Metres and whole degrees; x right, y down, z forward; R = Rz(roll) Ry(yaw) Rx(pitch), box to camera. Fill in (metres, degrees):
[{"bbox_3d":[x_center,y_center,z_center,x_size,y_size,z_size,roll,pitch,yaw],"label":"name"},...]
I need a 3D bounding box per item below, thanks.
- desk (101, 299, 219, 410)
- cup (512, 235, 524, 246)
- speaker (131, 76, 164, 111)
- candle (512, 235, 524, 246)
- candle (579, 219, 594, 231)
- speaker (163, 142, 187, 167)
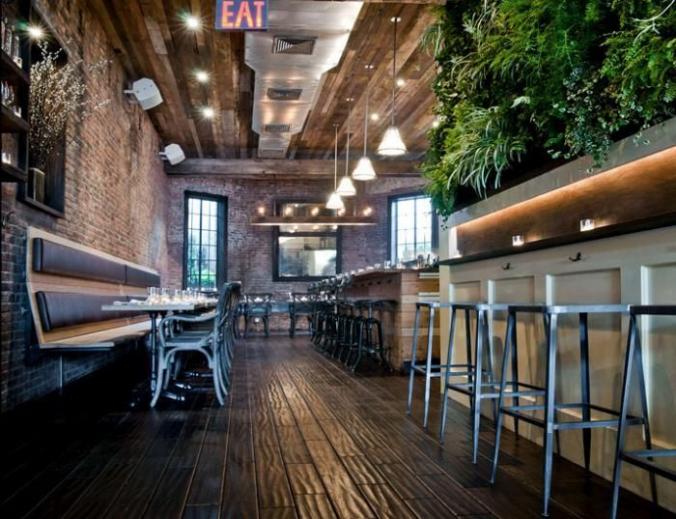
[{"bbox_3d":[-1.737,0.787,4.678,1.116,1.112,1.126,1,-6,-15],"label":"desk"},{"bbox_3d":[1.269,-0.131,3.389,0.086,0.086,0.088,1,-9,0],"label":"cup"},{"bbox_3d":[-3.115,-2.712,7.750,0.441,0.481,0.529,2,-3,-24],"label":"speaker"},{"bbox_3d":[1.283,-0.128,3.392,0.086,0.086,0.088,0,-9,4],"label":"candle"},{"bbox_3d":[1.445,-0.197,2.758,0.093,0.096,0.095,0,4,25],"label":"candle"},{"bbox_3d":[-3.638,-2.337,10.681,0.487,0.501,0.311,-19,-2,-4],"label":"speaker"}]
